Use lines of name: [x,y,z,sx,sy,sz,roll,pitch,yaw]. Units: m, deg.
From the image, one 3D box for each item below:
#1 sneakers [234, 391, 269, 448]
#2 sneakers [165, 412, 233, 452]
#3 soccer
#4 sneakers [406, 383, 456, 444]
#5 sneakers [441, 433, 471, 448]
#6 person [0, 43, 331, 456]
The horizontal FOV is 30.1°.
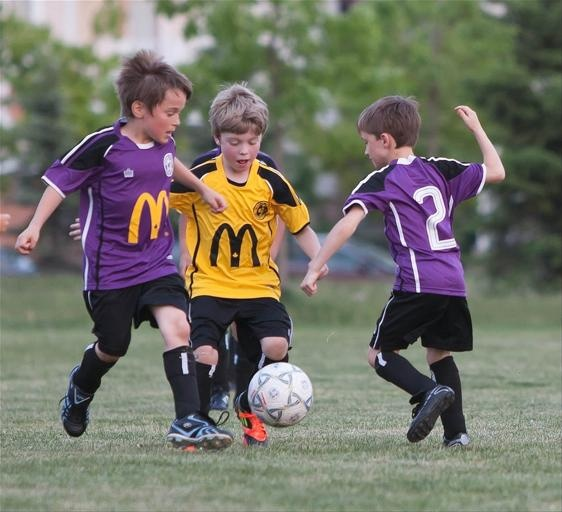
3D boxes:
sneakers: [-0.191,0.932,5.931,0.118,0.155,0.338,-27,61,-15]
sneakers: [-0.425,0.931,5.579,0.360,0.155,0.130,-9,-24,27]
soccer: [-0.030,0.787,5.953,0.379,0.358,0.350,1,-7,-5]
sneakers: [0.798,0.837,5.576,0.285,0.283,0.135,-4,16,-32]
sneakers: [0.967,1.009,5.747,0.064,0.068,0.151,-4,4,-32]
person: [-0.850,-0.004,5.686,1.088,2.186,0.784,5,13,0]
